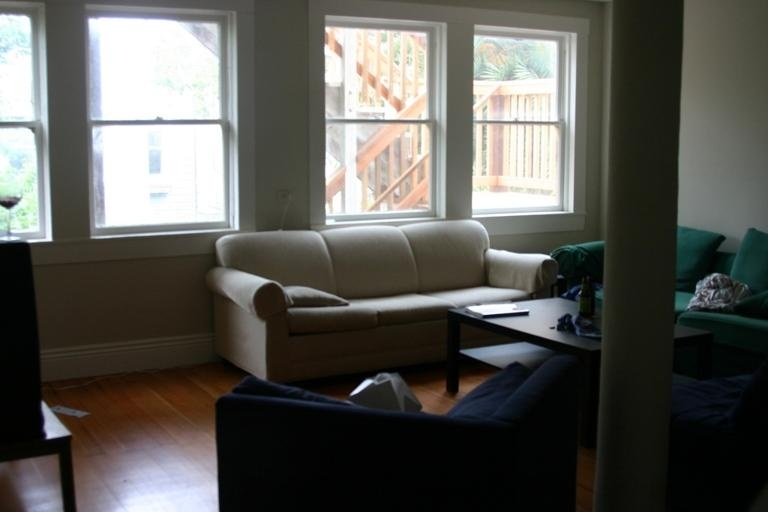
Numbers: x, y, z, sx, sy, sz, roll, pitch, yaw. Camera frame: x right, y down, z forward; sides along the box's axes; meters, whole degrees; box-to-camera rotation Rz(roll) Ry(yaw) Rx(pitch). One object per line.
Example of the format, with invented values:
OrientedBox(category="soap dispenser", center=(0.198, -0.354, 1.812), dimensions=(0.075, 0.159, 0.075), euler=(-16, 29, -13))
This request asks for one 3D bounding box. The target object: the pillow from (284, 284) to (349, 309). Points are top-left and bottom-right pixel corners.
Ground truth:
OrientedBox(category="pillow", center=(-0.526, 0.300, 4.483), dimensions=(0.515, 0.162, 0.318), euler=(-6, 13, -25))

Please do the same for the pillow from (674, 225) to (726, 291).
OrientedBox(category="pillow", center=(2.574, 0.034, 4.840), dimensions=(0.417, 0.437, 0.159), euler=(11, -11, 32))
